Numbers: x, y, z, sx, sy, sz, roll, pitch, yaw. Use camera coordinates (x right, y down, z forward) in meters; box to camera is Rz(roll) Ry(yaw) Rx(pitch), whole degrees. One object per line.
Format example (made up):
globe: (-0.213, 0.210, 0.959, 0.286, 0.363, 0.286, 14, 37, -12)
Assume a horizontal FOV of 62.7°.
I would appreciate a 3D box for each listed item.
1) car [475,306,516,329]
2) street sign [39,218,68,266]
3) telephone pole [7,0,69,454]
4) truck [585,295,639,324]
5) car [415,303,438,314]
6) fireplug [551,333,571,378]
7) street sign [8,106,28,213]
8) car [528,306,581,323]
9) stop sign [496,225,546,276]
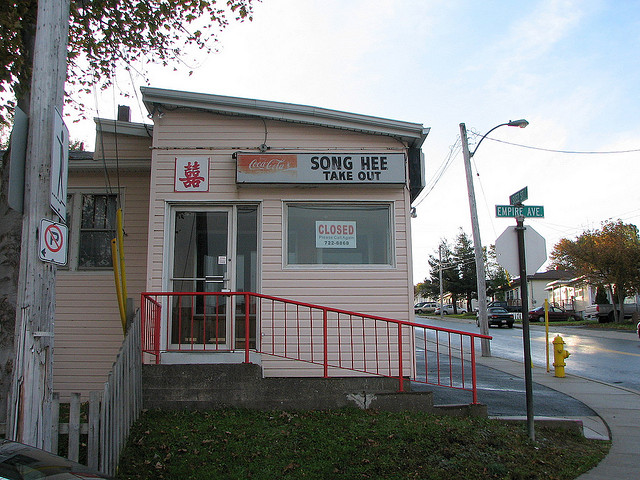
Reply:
car: (12.243, 5.387, 36.009, 1.411, 1.215, 2.070, 4, -1, 2)
street sign: (-2.853, 0.020, 5.617, 0.046, 0.489, 0.445, -8, -9, 12)
telephone pole: (-2.925, -0.241, 5.588, 0.424, 5.395, 0.625, 4, -1, -29)
truck: (22.398, 5.143, 40.457, 3.351, 1.646, 7.374, 3, -1, 28)
car: (14.201, 9.167, 70.121, 2.818, 1.152, 1.395, 0, -3, 27)
fireplug: (5.977, 2.865, 13.044, 0.465, 1.022, 0.341, -3, -7, 29)
street sign: (-3.146, -0.859, 5.497, 0.144, 1.255, 0.305, 4, -1, -31)
car: (19.164, 6.295, 43.446, 5.300, 1.034, 2.001, 4, -1, -31)
stop sign: (3.057, 0.157, 7.973, 0.709, 0.782, 0.043, -1, -3, 6)
